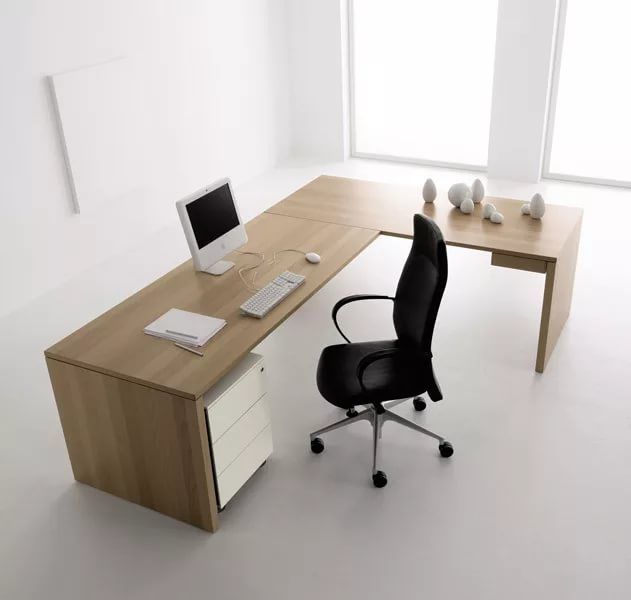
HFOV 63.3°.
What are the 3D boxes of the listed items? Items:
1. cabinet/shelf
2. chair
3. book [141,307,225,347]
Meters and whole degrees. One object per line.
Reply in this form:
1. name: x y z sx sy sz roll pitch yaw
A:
1. cabinet/shelf: -0.425 0.604 2.340 0.244 0.602 0.466 9 23 28
2. chair: 0.313 0.204 2.497 0.566 1.221 0.667 -1 23 -4
3. book: -0.604 0.108 2.336 0.345 0.036 0.246 12 36 22
